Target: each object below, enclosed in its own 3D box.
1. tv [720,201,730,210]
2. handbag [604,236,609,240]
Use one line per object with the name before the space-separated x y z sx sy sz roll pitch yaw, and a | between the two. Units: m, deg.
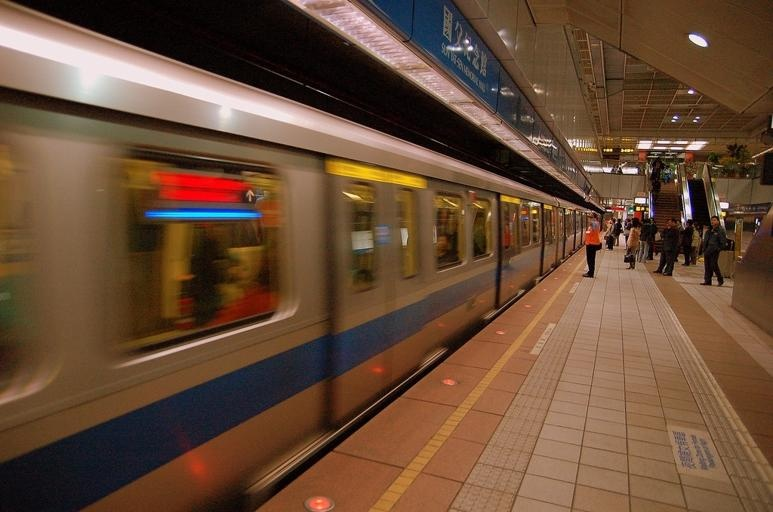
tv | 18.811 -2.779 25.666 0.254 0.319 3.585 9 12 34
handbag | 12.449 -1.037 26.090 0.066 0.236 0.245 -5 6 -42
